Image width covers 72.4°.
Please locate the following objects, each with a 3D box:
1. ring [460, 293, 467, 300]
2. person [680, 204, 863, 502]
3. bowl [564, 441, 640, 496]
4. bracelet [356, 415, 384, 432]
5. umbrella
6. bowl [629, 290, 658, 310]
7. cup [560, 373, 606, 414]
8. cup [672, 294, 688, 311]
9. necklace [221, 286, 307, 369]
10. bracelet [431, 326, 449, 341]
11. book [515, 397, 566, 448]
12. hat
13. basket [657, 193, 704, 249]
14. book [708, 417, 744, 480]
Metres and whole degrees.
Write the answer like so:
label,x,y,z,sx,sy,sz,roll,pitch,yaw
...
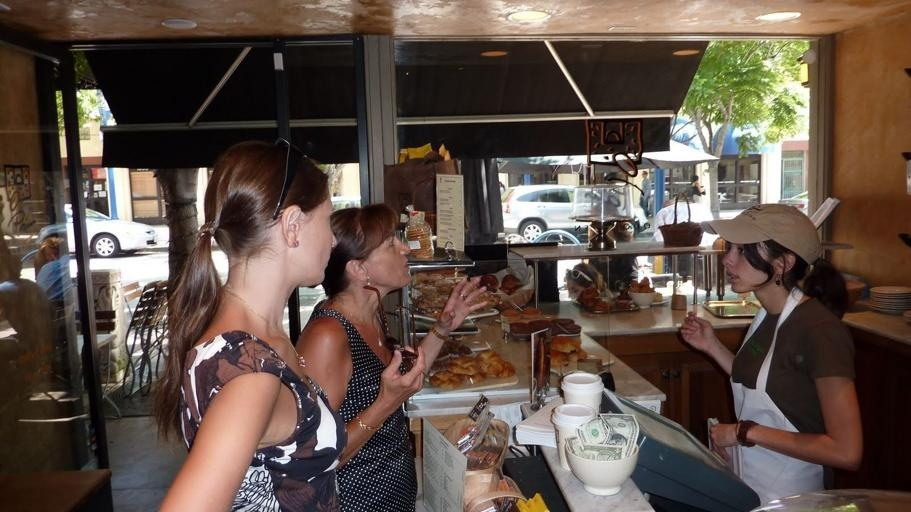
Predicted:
label,x,y,z,sx,sy,sz,roll,pitch,yaw
ring,0.047,0.236,3.789,0.038,0.010,0.038,-3,23,1
person,1.806,0.526,3.460,0.722,1.660,0.618,-1,8,27
bowl,0.685,1.000,2.909,0.369,0.215,0.350,-1,-26,0
bracelet,-0.428,0.851,3.099,0.098,0.023,0.097,19,-11,13
umbrella,1.032,-0.639,5.805,1.401,0.795,1.298,-1,3,1
bowl,1.680,0.365,5.548,0.189,0.104,0.182,0,4,0
cup,0.613,0.648,3.008,0.200,0.156,0.191,-1,8,0
cup,1.986,0.398,5.549,0.147,0.136,0.148,0,1,0
necklace,-0.781,0.273,2.738,0.247,0.449,0.107,-41,6,41
bracelet,-0.118,0.456,3.851,0.104,0.033,0.109,23,-20,46
book,0.443,0.826,3.130,0.264,0.057,0.250,-11,16,-17
hat,1.777,-0.157,3.617,0.532,0.261,0.335,23,3,5
basket,1.878,-0.338,5.327,0.509,0.479,0.583,-1,-2,16
book,1.531,1.087,3.487,0.107,0.316,0.329,-10,-6,12
